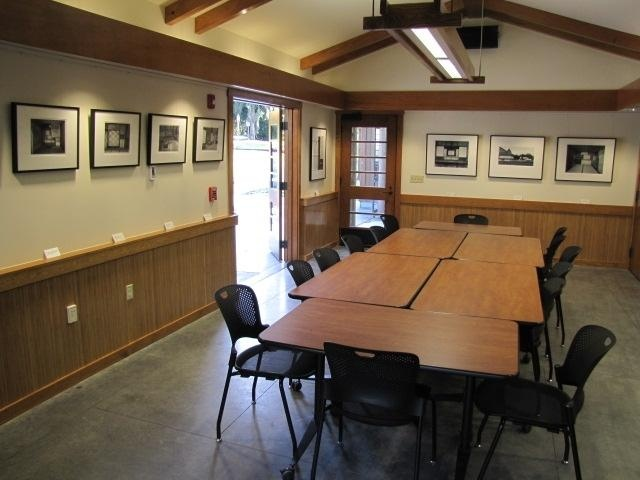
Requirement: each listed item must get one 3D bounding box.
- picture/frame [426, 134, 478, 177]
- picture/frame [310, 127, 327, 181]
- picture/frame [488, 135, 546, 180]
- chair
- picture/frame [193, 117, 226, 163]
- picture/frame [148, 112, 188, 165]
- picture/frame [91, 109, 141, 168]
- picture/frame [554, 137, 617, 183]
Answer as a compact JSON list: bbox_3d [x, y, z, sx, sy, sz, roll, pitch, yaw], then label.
[{"bbox_3d":[2.506,-1.598,8.379,0.786,0.705,0.027,2,7,18],"label":"picture/frame"},{"bbox_3d":[-0.052,-1.562,8.090,0.045,1.135,0.946,4,8,23],"label":"picture/frame"},{"bbox_3d":[3.568,-1.498,8.029,0.750,0.687,0.028,5,8,14],"label":"picture/frame"},{"bbox_3d":[0.937,0.770,3.944,1.791,0.959,3.121,4,10,26],"label":"chair"},{"bbox_3d":[-1.318,-1.184,5.254,0.052,0.493,0.556,7,9,20],"label":"picture/frame"},{"bbox_3d":[-1.611,-1.052,4.711,0.053,0.491,0.540,13,16,19],"label":"picture/frame"},{"bbox_3d":[-1.880,-0.934,4.150,0.548,0.512,0.025,5,5,20],"label":"picture/frame"},{"bbox_3d":[4.600,-1.384,7.686,0.738,0.735,0.030,4,10,15],"label":"picture/frame"}]
